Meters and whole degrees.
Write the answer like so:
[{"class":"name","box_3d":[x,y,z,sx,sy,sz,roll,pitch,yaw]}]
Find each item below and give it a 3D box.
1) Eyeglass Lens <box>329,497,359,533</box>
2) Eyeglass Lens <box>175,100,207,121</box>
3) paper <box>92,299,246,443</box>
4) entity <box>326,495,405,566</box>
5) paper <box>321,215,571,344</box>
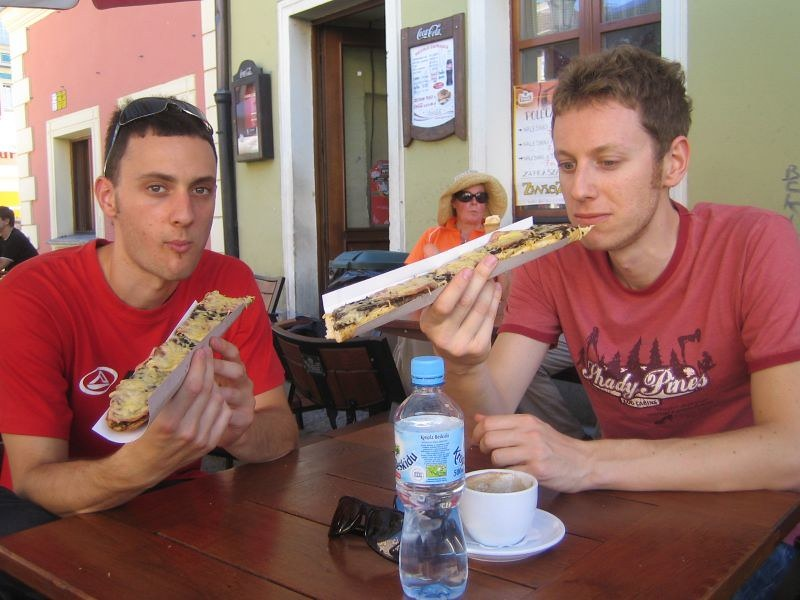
[{"class":"Eyeglass Lens","box_3d":[-0.124,0.491,1.522,0.078,0.083,0.029,-16,53,-16]},{"class":"Eyeglass Lens","box_3d":[-0.693,-0.621,2.224,0.085,0.026,0.085,19,-5,-7]},{"class":"paper","box_3d":[-0.617,0.196,1.765,0.126,0.073,0.536,26,43,3]},{"class":"entity","box_3d":[-0.020,0.528,1.565,0.200,0.102,0.233,9,-12,33]},{"class":"paper","box_3d":[0.134,-0.072,1.672,0.708,0.245,0.250,-7,10,-33]}]
